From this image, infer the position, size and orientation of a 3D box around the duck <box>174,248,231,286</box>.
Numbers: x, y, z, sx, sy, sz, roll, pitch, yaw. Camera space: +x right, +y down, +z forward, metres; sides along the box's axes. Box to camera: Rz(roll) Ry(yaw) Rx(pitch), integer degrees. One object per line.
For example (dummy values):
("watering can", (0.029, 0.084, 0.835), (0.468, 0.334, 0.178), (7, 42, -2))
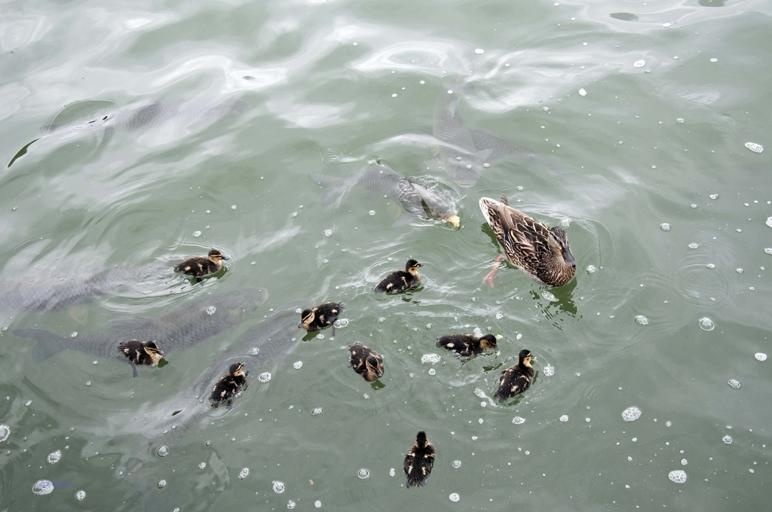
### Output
("duck", (-3.429, 0.218, 14.624), (1.076, 0.657, 0.446), (10, 49, -2))

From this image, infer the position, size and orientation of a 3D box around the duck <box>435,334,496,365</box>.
("duck", (1.376, 1.584, 13.543), (1.012, 0.395, 0.366), (-7, 43, 10))

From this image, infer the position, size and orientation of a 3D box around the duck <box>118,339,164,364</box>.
("duck", (-4.324, 1.714, 13.725), (0.821, 0.303, 0.404), (-2, 72, 6))

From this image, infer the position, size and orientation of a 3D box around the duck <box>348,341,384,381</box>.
("duck", (-0.343, 1.794, 13.406), (0.395, 0.409, 0.677), (-25, 38, -23))

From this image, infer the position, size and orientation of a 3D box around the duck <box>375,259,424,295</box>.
("duck", (0.187, 0.413, 14.292), (0.992, 0.603, 0.597), (-13, 20, -30))
